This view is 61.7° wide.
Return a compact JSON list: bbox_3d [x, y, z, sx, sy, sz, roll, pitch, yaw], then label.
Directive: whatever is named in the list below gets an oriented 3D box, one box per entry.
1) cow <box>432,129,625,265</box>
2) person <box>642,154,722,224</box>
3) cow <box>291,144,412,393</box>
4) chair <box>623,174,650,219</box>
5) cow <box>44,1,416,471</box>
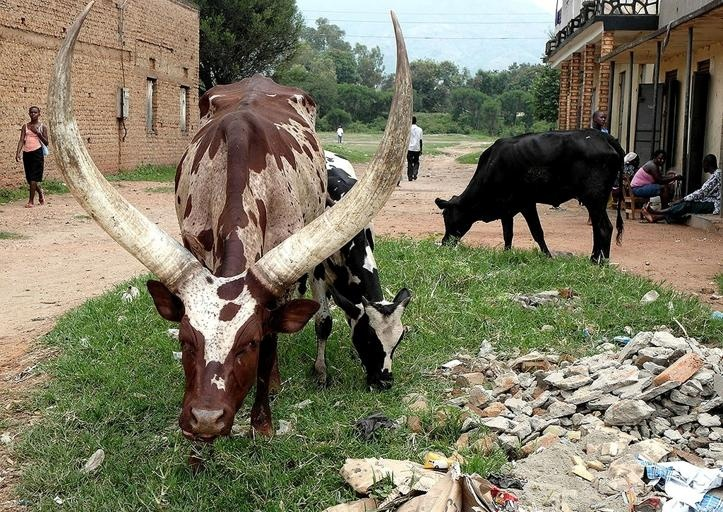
[{"bbox_3d":[2.553,-0.846,9.237,2.782,2.040,0.852,-1,13,30],"label":"cow"},{"bbox_3d":[6.633,-1.333,12.224,1.823,1.186,0.922,-12,49,27],"label":"person"},{"bbox_3d":[-0.190,-0.068,5.919,0.672,1.415,2.738,-1,41,-11],"label":"cow"},{"bbox_3d":[5.944,-1.262,13.044,0.543,0.753,0.544,19,14,11],"label":"chair"},{"bbox_3d":[-0.920,-0.183,4.553,2.175,3.037,2.491,-2,14,-10],"label":"cow"}]
